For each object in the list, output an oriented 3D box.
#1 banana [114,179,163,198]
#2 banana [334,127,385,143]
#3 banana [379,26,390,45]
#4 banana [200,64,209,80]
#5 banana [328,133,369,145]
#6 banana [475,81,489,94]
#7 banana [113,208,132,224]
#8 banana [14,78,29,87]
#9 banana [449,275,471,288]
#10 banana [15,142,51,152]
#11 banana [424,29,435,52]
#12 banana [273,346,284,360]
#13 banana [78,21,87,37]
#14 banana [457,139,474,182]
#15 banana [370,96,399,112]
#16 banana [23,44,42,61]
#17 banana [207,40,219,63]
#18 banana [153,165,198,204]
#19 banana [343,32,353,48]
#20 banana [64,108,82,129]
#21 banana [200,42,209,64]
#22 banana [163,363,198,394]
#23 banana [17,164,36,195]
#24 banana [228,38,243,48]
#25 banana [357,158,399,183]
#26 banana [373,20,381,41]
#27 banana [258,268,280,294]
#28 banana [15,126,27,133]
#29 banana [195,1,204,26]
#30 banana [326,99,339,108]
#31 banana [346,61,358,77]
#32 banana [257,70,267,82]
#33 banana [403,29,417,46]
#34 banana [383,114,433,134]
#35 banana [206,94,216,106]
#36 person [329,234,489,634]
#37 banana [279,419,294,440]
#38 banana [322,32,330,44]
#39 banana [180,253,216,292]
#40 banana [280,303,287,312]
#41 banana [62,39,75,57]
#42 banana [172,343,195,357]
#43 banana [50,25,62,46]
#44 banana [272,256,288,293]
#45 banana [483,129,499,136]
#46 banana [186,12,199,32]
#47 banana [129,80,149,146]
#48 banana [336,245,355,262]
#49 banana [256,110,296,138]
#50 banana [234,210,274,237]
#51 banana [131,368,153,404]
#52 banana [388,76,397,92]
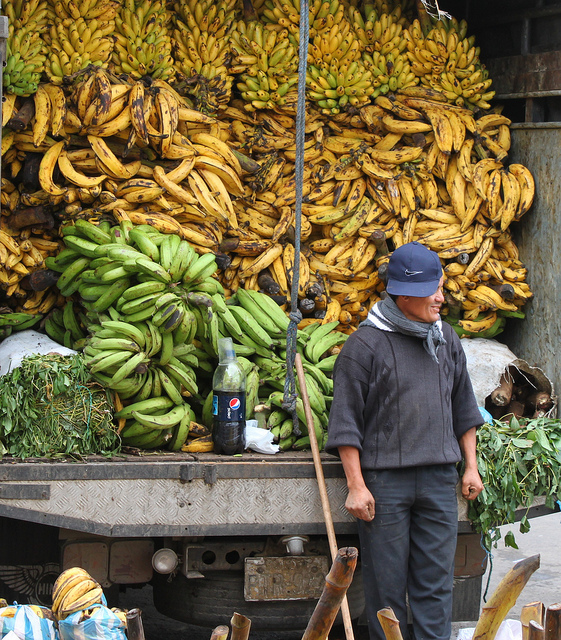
[{"bbox_3d":[-0.823,-0.771,4.498,0.357,0.109,0.089,-5,37,-11],"label":"banana"},{"bbox_3d":[0.517,-1.244,5.189,0.257,0.062,0.049,14,-27,-4],"label":"banana"},{"bbox_3d":[0.682,-1.871,5.077,0.040,0.131,0.044,24,-8,12],"label":"banana"},{"bbox_3d":[-0.446,-1.502,4.676,0.051,0.078,0.026,0,-16,-13],"label":"banana"},{"bbox_3d":[0.454,-1.212,5.171,0.242,0.040,0.089,3,-6,-6],"label":"banana"},{"bbox_3d":[1.347,-1.551,5.154,0.031,0.110,0.043,41,-16,-8],"label":"banana"},{"bbox_3d":[-0.905,-0.599,4.384,0.044,0.050,0.155,-30,45,-30],"label":"banana"},{"bbox_3d":[-1.368,-1.259,4.099,0.035,0.011,0.043,-1,-45,-6],"label":"banana"},{"bbox_3d":[1.168,-0.257,5.046,0.057,0.086,0.157,2,-3,-32],"label":"banana"},{"bbox_3d":[-1.365,-0.957,4.261,0.136,0.034,0.047,6,-25,-9],"label":"banana"},{"bbox_3d":[0.994,-1.869,5.153,0.042,0.145,0.050,11,-14,13],"label":"banana"},{"bbox_3d":[-0.017,0.190,4.475,0.040,0.072,0.084,1,-2,-10],"label":"banana"},{"bbox_3d":[-1.112,-1.631,4.345,0.043,0.079,0.049,11,-4,44],"label":"banana"},{"bbox_3d":[1.223,-1.066,5.130,0.080,0.292,0.111,-11,-31,36],"label":"banana"},{"bbox_3d":[0.689,-1.437,5.122,0.155,0.041,0.055,29,-16,22],"label":"banana"},{"bbox_3d":[-1.330,-1.451,4.203,0.038,0.142,0.046,41,-25,11],"label":"banana"},{"bbox_3d":[-0.407,-1.647,4.729,0.041,0.139,0.046,16,-6,-8],"label":"banana"},{"bbox_3d":[-0.621,-0.790,4.526,0.342,0.116,0.080,38,-16,-22],"label":"banana"},{"bbox_3d":[0.442,-1.831,5.012,0.038,0.096,0.071,0,-2,36],"label":"banana"},{"bbox_3d":[-1.138,-1.105,4.240,0.056,0.059,0.179,-17,41,-38],"label":"banana"},{"bbox_3d":[-0.463,-1.625,4.702,0.038,0.117,0.039,-10,4,0],"label":"banana"},{"bbox_3d":[-0.513,0.312,4.081,0.191,0.158,0.070,3,-2,-41],"label":"banana"},{"bbox_3d":[-1.452,-0.782,4.350,0.132,0.163,0.046,-13,-8,41],"label":"banana"},{"bbox_3d":[-0.280,-1.734,4.832,0.101,0.030,0.026,32,-13,-11],"label":"banana"},{"bbox_3d":[0.642,-0.983,5.101,0.248,0.134,0.079,26,-17,-37],"label":"banana"},{"bbox_3d":[0.634,-1.905,5.071,0.037,0.118,0.036,-4,-9,29],"label":"banana"},{"bbox_3d":[-0.092,-0.235,4.813,0.143,0.114,0.035,41,17,26],"label":"banana"},{"bbox_3d":[-1.408,-1.046,4.207,0.060,0.039,0.073,2,-2,-16],"label":"banana"},{"bbox_3d":[-0.497,-1.898,4.773,0.036,0.124,0.041,-2,12,4],"label":"banana"},{"bbox_3d":[0.329,-1.390,4.946,0.031,0.034,0.106,-22,-11,8],"label":"banana"},{"bbox_3d":[0.461,-1.607,4.945,0.035,0.117,0.036,28,-29,24],"label":"banana"},{"bbox_3d":[-0.117,-1.532,4.815,0.052,0.076,0.060,1,-2,-12],"label":"banana"},{"bbox_3d":[0.861,-1.884,5.165,0.034,0.124,0.041,-32,7,31],"label":"banana"},{"bbox_3d":[0.817,-1.287,5.112,0.411,0.115,0.136,3,24,0],"label":"banana"},{"bbox_3d":[-0.420,-1.338,4.692,0.026,0.070,0.019,-29,13,-3],"label":"banana"},{"bbox_3d":[0.582,0.502,3.436,0.785,1.710,0.333,2,-2,-32],"label":"person"},{"bbox_3d":[0.033,0.578,4.099,0.061,0.108,0.036,42,-39,-16],"label":"banana"},{"bbox_3d":[0.295,-1.809,4.942,0.032,0.057,0.020,-12,3,1],"label":"banana"},{"bbox_3d":[-0.433,-0.278,4.159,0.071,0.092,0.358,5,36,24],"label":"banana"},{"bbox_3d":[0.022,-0.083,4.837,0.034,0.042,0.011,6,-11,-34],"label":"banana"},{"bbox_3d":[-1.173,-1.509,4.283,0.050,0.100,0.033,-36,16,-10],"label":"banana"},{"bbox_3d":[-0.503,0.158,4.092,0.042,0.047,0.140,22,20,36],"label":"banana"},{"bbox_3d":[-1.255,-1.605,4.323,0.025,0.088,0.030,-22,2,-17],"label":"banana"},{"bbox_3d":[-0.012,-0.295,4.933,0.066,0.234,0.082,-24,-29,15],"label":"banana"},{"bbox_3d":[1.428,-1.271,5.226,0.116,0.036,0.029,-17,40,-19],"label":"banana"},{"bbox_3d":[-0.551,-1.851,4.770,0.040,0.143,0.046,-28,41,-9],"label":"banana"},{"bbox_3d":[-0.798,-1.190,4.371,0.112,0.372,0.143,1,-2,8],"label":"banana"},{"bbox_3d":[0.435,-0.438,5.106,0.180,0.052,0.062,-35,-14,-38],"label":"banana"},{"bbox_3d":[-0.039,-1.262,4.955,0.295,0.098,0.059,27,-41,-9],"label":"banana"},{"bbox_3d":[-0.160,-0.616,4.908,0.248,0.159,0.149,1,-2,-8],"label":"banana"},{"bbox_3d":[-0.697,0.337,3.969,0.046,0.160,0.128,7,18,11],"label":"banana"},{"bbox_3d":[0.737,-1.553,5.052,0.045,0.074,0.058,-2,13,38],"label":"banana"}]
